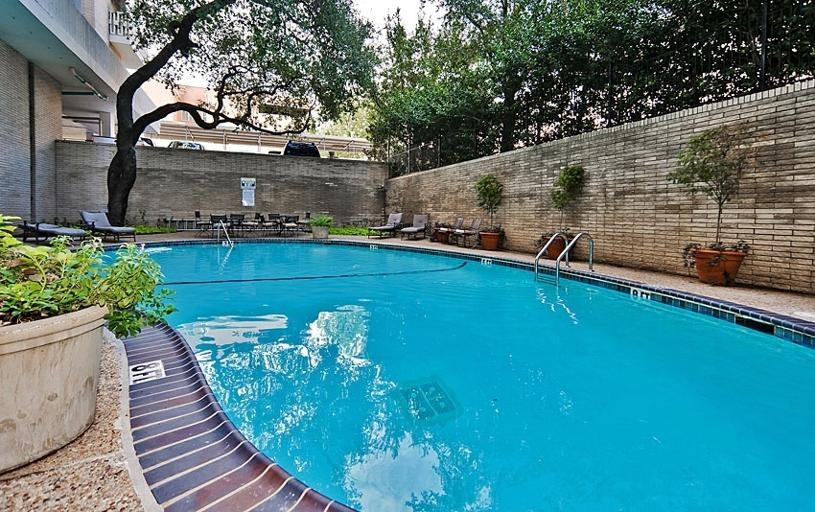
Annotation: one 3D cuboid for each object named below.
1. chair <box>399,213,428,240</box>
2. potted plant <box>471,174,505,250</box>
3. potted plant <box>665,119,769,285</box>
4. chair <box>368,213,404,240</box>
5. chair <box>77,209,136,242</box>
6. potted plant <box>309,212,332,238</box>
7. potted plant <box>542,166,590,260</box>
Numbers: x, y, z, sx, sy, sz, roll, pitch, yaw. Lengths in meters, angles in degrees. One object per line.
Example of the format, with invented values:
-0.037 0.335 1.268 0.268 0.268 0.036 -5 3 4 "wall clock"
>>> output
0.160 -0.977 16.018 0.672 0.828 1.158 0 3 29 "chair"
2.262 -1.231 13.177 0.699 2.042 1.147 -2 11 -13 "potted plant"
5.253 -0.914 8.210 0.994 2.689 1.309 -10 15 -44 "potted plant"
-0.750 -1.050 16.692 0.810 0.928 1.332 1 3 45 "chair"
-8.733 -0.867 13.709 1.165 0.775 2.356 -7 13 -34 "chair"
-2.799 -0.882 15.047 0.571 0.633 0.740 -2 11 -14 "potted plant"
3.550 -1.022 10.886 0.789 2.149 0.890 -8 14 -36 "potted plant"
